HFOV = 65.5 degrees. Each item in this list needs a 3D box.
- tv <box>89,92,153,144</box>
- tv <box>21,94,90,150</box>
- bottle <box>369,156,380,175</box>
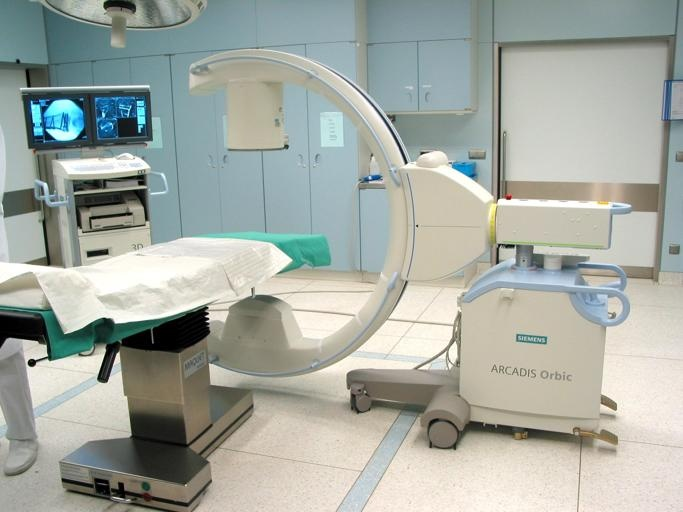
[{"bbox_3d":[-1.780,-1.114,4.239,0.411,0.362,0.048,-10,14,-37],"label":"tv"},{"bbox_3d":[-2.159,-1.031,4.032,0.395,0.375,0.042,-6,15,-21],"label":"tv"},{"bbox_3d":[0.329,-0.916,5.381,0.071,0.182,0.184,-3,15,-15],"label":"bottle"}]
